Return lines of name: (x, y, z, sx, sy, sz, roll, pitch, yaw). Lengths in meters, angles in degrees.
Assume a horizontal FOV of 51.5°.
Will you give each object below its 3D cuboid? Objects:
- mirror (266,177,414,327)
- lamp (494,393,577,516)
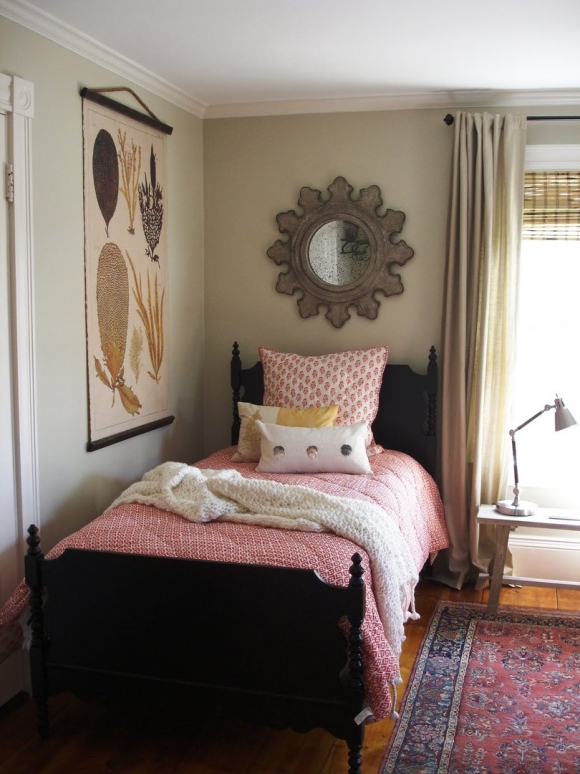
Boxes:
mirror: (0.254, -0.724, 3.265, 0.711, 0.935, 0.051, 1, -18, 6)
lamp: (1.164, 0.319, 2.907, 0.322, 0.533, 0.640, 0, -1, 19)
